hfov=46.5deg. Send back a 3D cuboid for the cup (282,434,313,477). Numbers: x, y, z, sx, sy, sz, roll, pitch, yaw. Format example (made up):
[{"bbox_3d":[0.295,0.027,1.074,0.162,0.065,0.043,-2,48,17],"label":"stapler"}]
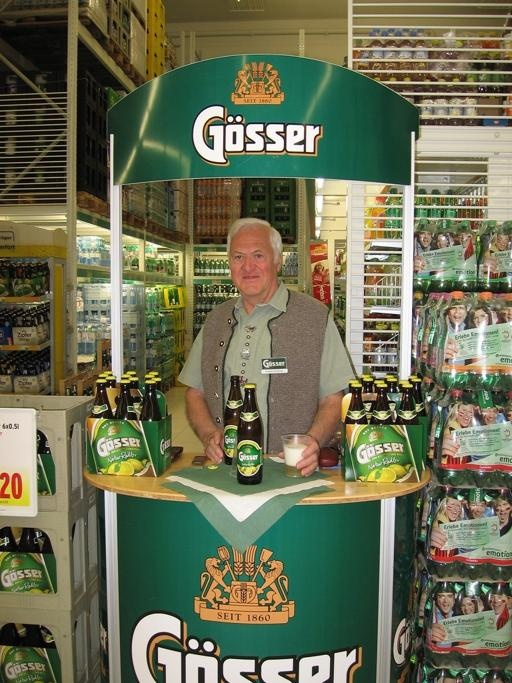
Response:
[{"bbox_3d":[0.108,0.337,1.771,0.101,0.116,0.101,1,4,0],"label":"cup"}]

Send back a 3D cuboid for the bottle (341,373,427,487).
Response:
[{"bbox_3d":[0.383,0.269,1.789,0.242,0.297,0.111,2,15,7],"label":"bottle"}]

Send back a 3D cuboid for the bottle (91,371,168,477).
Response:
[{"bbox_3d":[-0.396,0.253,1.838,0.240,0.298,0.154,1,15,5],"label":"bottle"}]

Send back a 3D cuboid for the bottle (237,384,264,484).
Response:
[{"bbox_3d":[-0.018,0.258,1.675,0.070,0.289,0.119,-1,15,-3],"label":"bottle"}]
